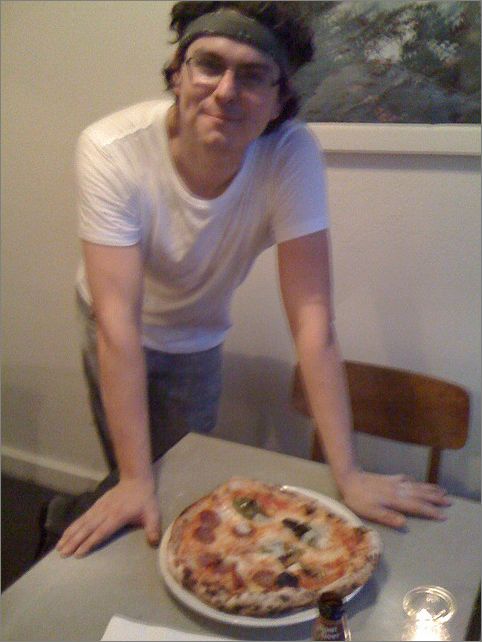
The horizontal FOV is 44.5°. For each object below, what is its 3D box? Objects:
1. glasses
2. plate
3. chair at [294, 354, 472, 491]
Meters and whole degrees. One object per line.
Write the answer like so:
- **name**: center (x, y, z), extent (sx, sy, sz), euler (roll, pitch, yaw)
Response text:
- **glasses**: center (-0.012, -0.422, 1.001), extent (0.158, 0.066, 0.045), euler (-2, 21, -1)
- **plate**: center (0.029, 0.294, 0.735), extent (0.259, 0.041, 0.223), euler (-8, 23, -13)
- **chair**: center (0.288, 0.169, 1.291), extent (0.253, 0.384, 0.263), euler (13, 45, 13)
